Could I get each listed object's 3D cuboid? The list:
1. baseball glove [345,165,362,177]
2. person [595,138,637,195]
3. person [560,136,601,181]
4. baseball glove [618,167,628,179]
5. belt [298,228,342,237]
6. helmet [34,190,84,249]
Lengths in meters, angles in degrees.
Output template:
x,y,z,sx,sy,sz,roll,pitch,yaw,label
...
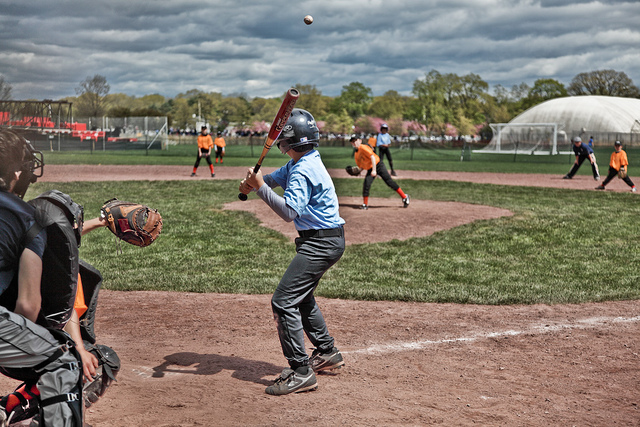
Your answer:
x,y,z,sx,sy,sz,roll,pitch,yaw,label
0.862,-1.056,20.221,0.366,0.171,0.264,19,1,36,baseball glove
9.018,-1.428,24.757,1.097,1.464,0.773,9,10,42,person
9.495,-2.014,29.736,1.123,1.455,3.743,4,8,16,person
9.059,-1.216,24.533,0.190,0.326,0.436,4,8,18,baseball glove
0.026,0.238,10.448,0.543,0.121,0.133,2,8,-1,belt
-2.927,-0.049,9.238,0.630,0.543,0.456,-1,30,-18,helmet
